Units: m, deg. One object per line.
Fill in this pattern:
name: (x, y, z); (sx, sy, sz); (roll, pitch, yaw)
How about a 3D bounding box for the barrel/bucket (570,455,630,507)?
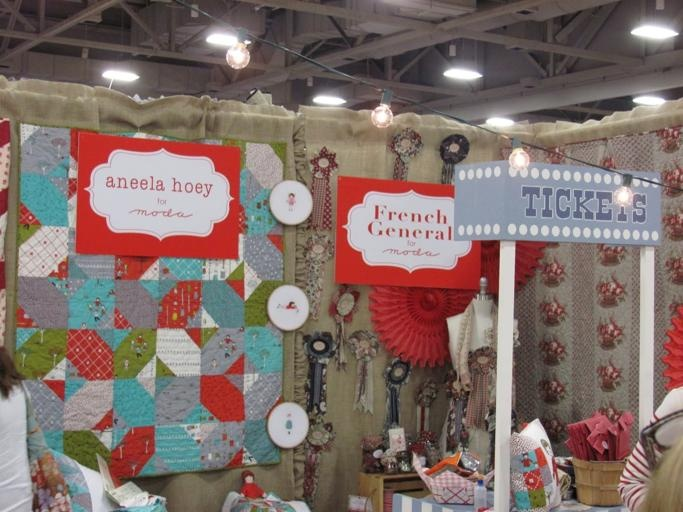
barrel/bucket: (1.622, 1.447, 5.965); (0.385, 0.339, 0.408); (1, -9, 0)
